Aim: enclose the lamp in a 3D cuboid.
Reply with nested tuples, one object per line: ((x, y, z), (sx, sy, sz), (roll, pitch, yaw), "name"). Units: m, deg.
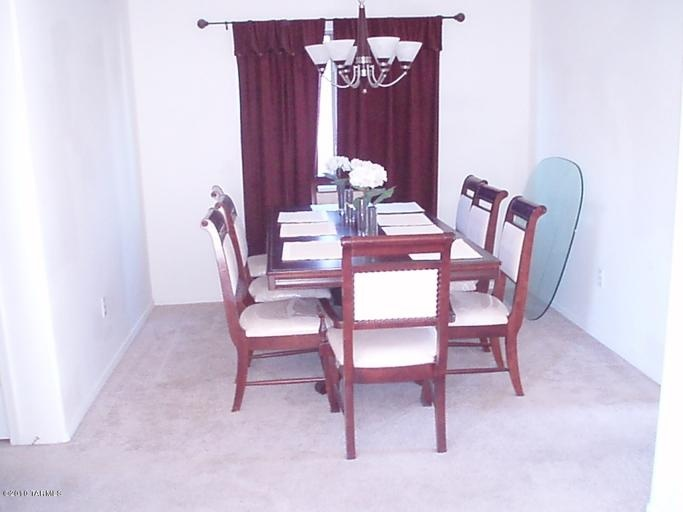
((0.156, -1.520, 4.064), (0.782, 0.878, 0.805), (-3, 12, -10), "lamp")

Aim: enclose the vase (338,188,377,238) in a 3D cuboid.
((0.104, -0.278, 3.605), (0.139, 0.201, 0.477), (-1, 15, -5), "vase")

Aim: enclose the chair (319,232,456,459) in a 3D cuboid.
((0.227, 0.384, 2.930), (0.681, 1.173, 0.542), (-3, 21, -1), "chair")

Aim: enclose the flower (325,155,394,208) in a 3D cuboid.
((0.116, -0.462, 3.464), (0.439, 0.423, 0.458), (0, 16, -4), "flower")

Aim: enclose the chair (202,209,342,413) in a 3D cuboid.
((-0.413, 0.162, 3.738), (1.049, 1.564, 0.889), (-2, 17, -8), "chair")

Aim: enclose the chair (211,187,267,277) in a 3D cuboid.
((-0.681, -0.170, 3.921), (0.400, 0.727, 0.372), (-5, 31, -6), "chair")
